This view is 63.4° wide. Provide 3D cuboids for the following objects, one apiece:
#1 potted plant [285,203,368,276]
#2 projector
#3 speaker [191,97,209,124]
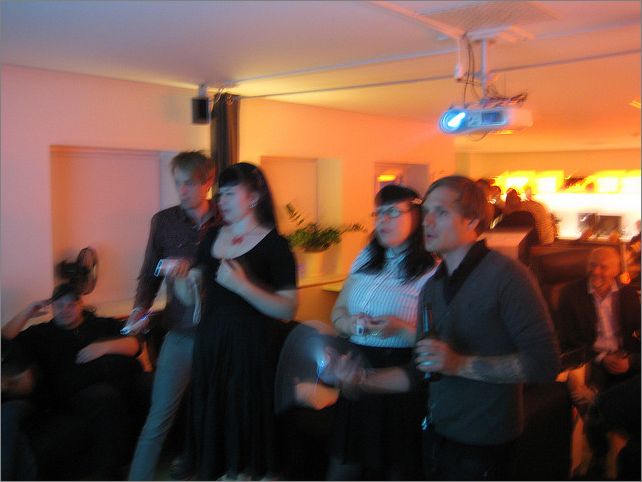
[{"bbox_3d":[-0.105,-0.091,6.564,0.529,0.691,0.769,-8,12,-44],"label":"potted plant"},{"bbox_3d":[1.302,-1.174,4.249,1.089,0.994,0.707,-1,6,9],"label":"projector"},{"bbox_3d":[-1.227,-1.317,5.260,0.192,0.264,0.208,-3,10,-13],"label":"speaker"}]
